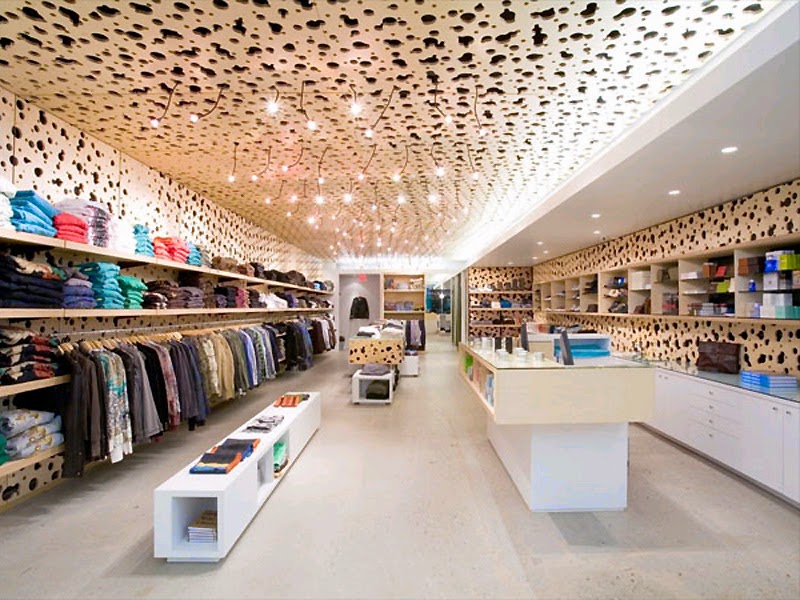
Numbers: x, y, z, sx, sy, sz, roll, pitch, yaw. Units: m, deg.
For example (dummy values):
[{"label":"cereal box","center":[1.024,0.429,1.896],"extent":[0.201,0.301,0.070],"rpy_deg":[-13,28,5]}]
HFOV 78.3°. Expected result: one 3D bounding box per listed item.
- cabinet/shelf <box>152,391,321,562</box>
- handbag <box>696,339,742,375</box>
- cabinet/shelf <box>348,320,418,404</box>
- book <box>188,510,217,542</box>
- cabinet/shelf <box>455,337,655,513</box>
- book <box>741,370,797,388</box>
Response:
[{"label":"cabinet/shelf","center":[-1.472,1.595,4.771],"extent":[0.589,0.681,2.034],"rpy_deg":[3,13,15]},{"label":"handbag","center":[3.731,0.669,5.745],"extent":[0.124,0.317,0.353],"rpy_deg":[7,-8,-34]},{"label":"cabinet/shelf","center":[-0.227,1.063,9.691],"extent":[1.110,1.096,2.955],"rpy_deg":[-3,8,3]},{"label":"book","center":[-1.623,1.870,4.054],"extent":[0.131,0.061,0.258],"rpy_deg":[4,-2,-8]},{"label":"cabinet/shelf","center":[1.525,1.176,4.803],"extent":[1.501,1.407,0.993],"rpy_deg":[0,13,0]},{"label":"book","center":[3.809,0.805,5.020],"extent":[0.521,0.147,0.266],"rpy_deg":[0,12,2]}]
